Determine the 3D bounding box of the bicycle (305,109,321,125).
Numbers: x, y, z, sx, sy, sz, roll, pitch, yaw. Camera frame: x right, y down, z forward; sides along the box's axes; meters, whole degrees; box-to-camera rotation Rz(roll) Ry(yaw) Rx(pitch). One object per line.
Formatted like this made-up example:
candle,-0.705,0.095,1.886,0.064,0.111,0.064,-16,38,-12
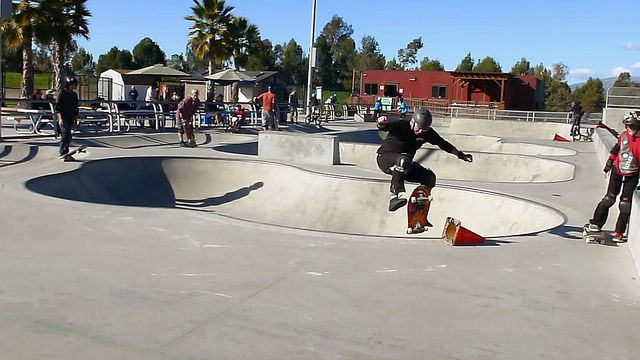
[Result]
bicycle,-0.367,-3.410,26.289,0.580,0.586,1.005,8,16,26

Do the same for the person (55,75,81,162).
person,-6.316,-1.562,11.693,0.466,1.993,0.976,-2,10,-29

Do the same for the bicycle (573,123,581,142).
bicycle,12.496,-2.337,22.749,0.337,0.823,0.722,7,10,29

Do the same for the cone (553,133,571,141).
cone,11.370,-1.986,22.125,0.523,0.249,0.634,6,9,23

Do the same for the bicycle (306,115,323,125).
bicycle,-0.435,-3.399,26.316,0.924,0.531,0.442,5,8,-38

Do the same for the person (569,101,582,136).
person,12.377,-2.936,22.641,0.349,1.479,0.668,6,9,24

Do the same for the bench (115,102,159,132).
bench,-7.751,-2.742,19.702,1.540,1.055,4.884,-1,9,-22

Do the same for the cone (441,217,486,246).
cone,2.354,0.898,7.345,0.603,0.317,0.344,13,-9,29

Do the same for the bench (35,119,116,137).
bench,-8.264,-1.726,15.683,1.007,0.311,1.399,5,2,42

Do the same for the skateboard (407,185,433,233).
skateboard,1.631,0.475,7.803,0.352,0.859,0.119,0,33,-8

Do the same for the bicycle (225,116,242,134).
bicycle,-3.654,-2.316,19.519,0.538,0.669,0.433,0,9,-13

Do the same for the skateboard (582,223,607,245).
skateboard,4.407,0.882,7.463,0.372,0.252,0.222,2,8,0

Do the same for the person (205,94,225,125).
person,-5.039,-3.363,22.286,0.858,1.439,3.921,0,8,-12

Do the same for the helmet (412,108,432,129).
helmet,1.691,-1.036,7.809,0.266,0.318,0.338,13,21,1
